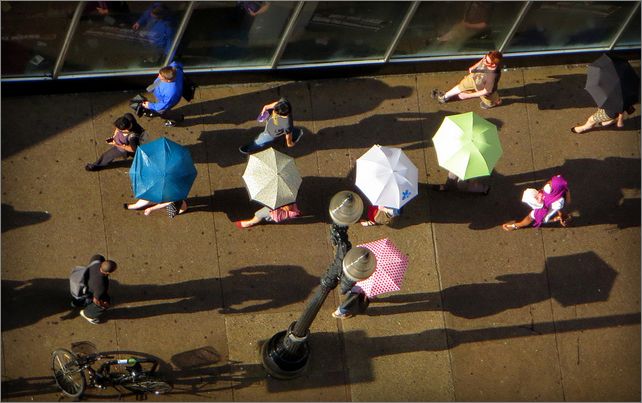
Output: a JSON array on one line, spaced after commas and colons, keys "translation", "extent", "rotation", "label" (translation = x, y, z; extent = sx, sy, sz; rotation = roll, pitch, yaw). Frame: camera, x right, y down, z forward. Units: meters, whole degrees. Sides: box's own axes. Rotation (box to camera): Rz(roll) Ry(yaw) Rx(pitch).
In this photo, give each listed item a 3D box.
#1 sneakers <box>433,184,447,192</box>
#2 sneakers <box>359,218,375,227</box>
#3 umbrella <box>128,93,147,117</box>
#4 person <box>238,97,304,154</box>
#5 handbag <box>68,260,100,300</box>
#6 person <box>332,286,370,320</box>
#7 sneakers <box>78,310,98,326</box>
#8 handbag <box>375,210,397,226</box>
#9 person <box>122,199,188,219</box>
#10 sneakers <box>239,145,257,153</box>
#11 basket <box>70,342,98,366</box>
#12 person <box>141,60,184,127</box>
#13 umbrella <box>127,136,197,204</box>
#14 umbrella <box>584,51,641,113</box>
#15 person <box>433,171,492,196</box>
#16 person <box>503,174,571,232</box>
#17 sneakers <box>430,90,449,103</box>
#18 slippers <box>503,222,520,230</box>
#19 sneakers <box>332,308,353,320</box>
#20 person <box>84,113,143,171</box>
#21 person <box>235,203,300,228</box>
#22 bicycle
[{"translation": [2.941, -0.328, 17.642], "extent": [0.404, 0.268, 0.129], "rotation": [5, 86, -10], "label": "sneakers"}, {"translation": [1.115, 0.514, 17.193], "extent": [0.384, 0.135, 0.156], "rotation": [-10, 101, 25], "label": "sneakers"}, {"translation": [-4.425, -2.279, 17.122], "extent": [0.501, 0.343, 0.599], "rotation": [4, 100, 7], "label": "umbrella"}, {"translation": [-1.271, -1.768, 17.283], "extent": [1.157, 1.402, 0.582], "rotation": [-9, 93, -15], "label": "person"}, {"translation": [-5.389, 1.781, 16.423], "extent": [0.908, 0.658, 0.862], "rotation": [-2, 102, -28], "label": "handbag"}, {"translation": [0.638, 2.229, 15.787], "extent": [1.038, 1.029, 0.432], "rotation": [-1, 65, -28], "label": "person"}, {"translation": [-5.401, 2.698, 16.556], "extent": [0.245, 0.561, 0.216], "rotation": [-7, 65, 27], "label": "sneakers"}, {"translation": [1.541, 0.397, 17.097], "extent": [0.587, 0.901, 0.250], "rotation": [0, 79, -1], "label": "handbag"}, {"translation": [-3.824, 0.147, 16.953], "extent": [1.690, 0.664, 0.520], "rotation": [1, 94, -8], "label": "person"}, {"translation": [-1.819, -1.265, 17.407], "extent": [0.484, 0.186, 0.154], "rotation": [1, 104, -5], "label": "sneakers"}, {"translation": [-5.413, 3.457, 16.261], "extent": [0.541, 0.463, 0.438], "rotation": [-9, 120, -6], "label": "basket"}, {"translation": [-3.615, -2.521, 16.922], "extent": [0.823, 1.412, 1.126], "rotation": [30, 80, 5], "label": "person"}, {"translation": [-3.630, -0.607, 16.628], "extent": [1.428, 1.313, 1.392], "rotation": [-12, 79, -4], "label": "umbrella"}, {"translation": [7.040, -2.805, 17.738], "extent": [1.395, 0.911, 1.315], "rotation": [14, 88, -6], "label": "umbrella"}, {"translation": [3.345, -0.382, 17.656], "extent": [1.755, 0.709, 0.502], "rotation": [4, 89, -6], "label": "person"}, {"translation": [5.130, 0.039, 17.039], "extent": [1.447, 0.676, 1.454], "rotation": [0, 122, 8], "label": "person"}, {"translation": [2.986, -2.662, 18.137], "extent": [0.547, 0.246, 0.192], "rotation": [23, 89, -17], "label": "sneakers"}, {"translation": [4.676, 0.618, 17.628], "extent": [0.396, 0.163, 0.139], "rotation": [0, 94, -1], "label": "slippers"}, {"translation": [0.466, 2.653, 16.738], "extent": [0.598, 0.262, 0.279], "rotation": [2, 96, 1], "label": "sneakers"}, {"translation": [-4.816, -1.305, 16.812], "extent": [1.228, 1.625, 0.737], "rotation": [-18, 62, -40], "label": "person"}, {"translation": [-1.270, 0.385, 16.858], "extent": [1.558, 0.789, 0.567], "rotation": [-4, 52, 18], "label": "person"}, {"translation": [-4.924, 3.972, 16.320], "extent": [2.304, 1.035, 0.543], "rotation": [6, 33, -4], "label": "bicycle"}]
